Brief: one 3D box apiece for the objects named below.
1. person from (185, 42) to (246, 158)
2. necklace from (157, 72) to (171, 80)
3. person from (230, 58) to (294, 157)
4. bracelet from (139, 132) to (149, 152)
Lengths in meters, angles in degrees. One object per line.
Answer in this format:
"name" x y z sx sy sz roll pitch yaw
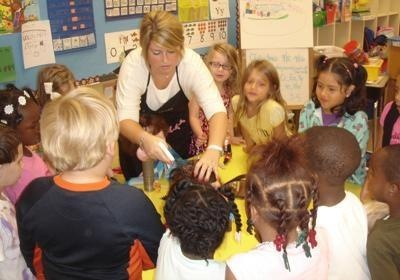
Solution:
"person" 0.142 -0.303 3.323 0.417 1.330 0.397 2 21 -5
"necklace" -0.236 -0.425 2.255 0.040 0.030 0.041 12 38 19
"person" 0.538 -0.300 3.012 0.599 0.782 0.518 5 31 13
"bracelet" -0.327 0.022 1.906 0.029 0.079 0.058 6 27 -19
